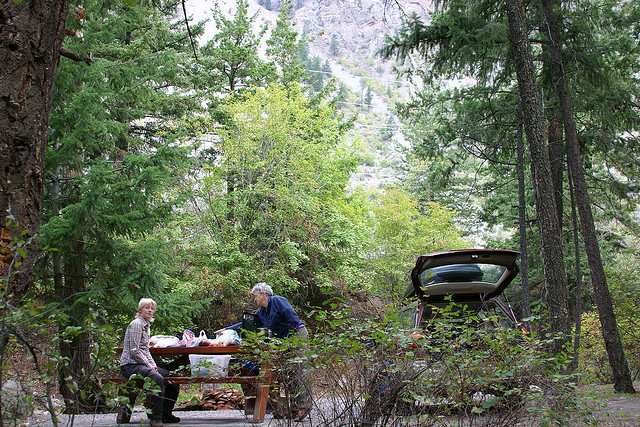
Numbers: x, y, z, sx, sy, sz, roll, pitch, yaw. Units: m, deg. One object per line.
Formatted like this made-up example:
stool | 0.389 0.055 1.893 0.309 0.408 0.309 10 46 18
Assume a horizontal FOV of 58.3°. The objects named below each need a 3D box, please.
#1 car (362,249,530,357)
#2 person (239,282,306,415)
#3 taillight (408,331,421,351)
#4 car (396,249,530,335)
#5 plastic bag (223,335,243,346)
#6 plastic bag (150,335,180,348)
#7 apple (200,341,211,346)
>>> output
car | 2.658 1.462 10.188 1.557 1.523 2.482 1 -6 -7
person | -0.933 2.268 10.047 1.327 1.964 0.878 -5 -27 -10
taillight | 1.297 1.759 7.912 0.085 0.285 0.282 8 1 41
car | 2.219 1.241 9.543 2.146 1.463 3.735 -5 -11 18
plastic bag | -1.579 2.266 10.228 0.291 0.180 0.378 1 -11 -12
plastic bag | -2.885 2.371 10.622 0.507 0.208 0.487 -10 -14 39
apple | -2.062 2.355 10.360 0.110 0.058 0.084 -28 -19 13
